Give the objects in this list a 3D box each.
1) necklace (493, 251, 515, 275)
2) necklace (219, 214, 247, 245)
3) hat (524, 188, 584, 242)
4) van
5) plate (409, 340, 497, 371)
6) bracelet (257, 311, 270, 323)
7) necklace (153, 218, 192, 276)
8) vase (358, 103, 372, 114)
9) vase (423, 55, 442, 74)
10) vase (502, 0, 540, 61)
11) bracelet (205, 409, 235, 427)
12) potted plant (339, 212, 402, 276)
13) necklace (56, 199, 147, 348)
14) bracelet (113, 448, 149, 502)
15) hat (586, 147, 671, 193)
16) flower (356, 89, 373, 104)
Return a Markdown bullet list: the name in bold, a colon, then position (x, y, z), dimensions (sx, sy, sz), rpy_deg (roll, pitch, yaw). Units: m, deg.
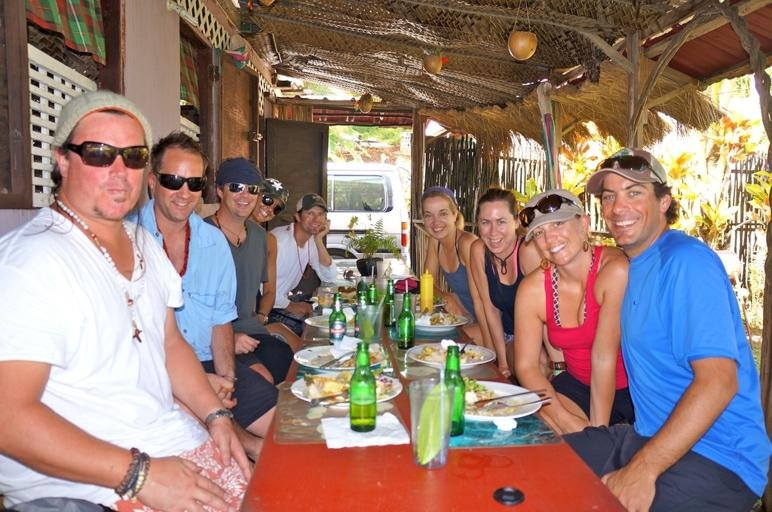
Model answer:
- **necklace**: position (0.877, 0.067, 4.240), dimensions (0.121, 0.183, 0.043), rpy_deg (-4, 2, 33)
- **necklace**: position (-1.173, -0.178, 4.329), dimensions (0.218, 0.059, 0.163), rpy_deg (45, 21, 19)
- **hat**: position (1.035, -0.266, 3.478), dimensions (0.372, 0.126, 0.351), rpy_deg (2, -17, -38)
- **van**: position (-0.375, -0.991, 10.379), dimensions (1.828, 1.703, 1.286), rpy_deg (1, 3, 1)
- **plate**: position (0.354, 0.548, 3.095), dimensions (0.283, 0.042, 0.291), rpy_deg (0, 9, -7)
- **bracelet**: position (-1.079, 0.547, 4.914), dimensions (0.066, 0.094, 0.033), rpy_deg (5, 21, 2)
- **necklace**: position (-1.293, -0.053, 3.494), dimensions (0.159, 0.319, 0.072), rpy_deg (2, -5, -10)
- **vase**: position (-0.369, -2.572, 9.743), dimensions (0.211, 0.187, 0.232), rpy_deg (0, 0, 1)
- **vase**: position (0.531, -2.172, 6.432), dimensions (0.217, 0.215, 0.269), rpy_deg (2, 4, 4)
- **vase**: position (1.325, -2.139, 5.612), dimensions (0.344, 0.871, 0.370), rpy_deg (2, 1, 11)
- **bracelet**: position (-0.829, 0.811, 2.812), dimensions (0.089, 0.096, 0.093), rpy_deg (-31, 23, -29)
- **potted plant**: position (-0.191, -0.121, 6.129), dimensions (0.457, 0.710, 0.646), rpy_deg (-6, -3, 3)
- **necklace**: position (-1.224, 0.081, 2.580), dimensions (0.141, 0.567, 0.537), rpy_deg (-25, -37, 15)
- **bracelet**: position (-1.012, 0.888, 2.326), dimensions (0.076, 0.145, 0.173), rpy_deg (26, 18, -10)
- **hat**: position (1.396, -0.518, 3.190), dimensions (0.462, 0.185, 0.339), rpy_deg (-5, 17, -15)
- **flower**: position (-0.368, -2.726, 9.822), dimensions (0.221, 0.275, 0.461), rpy_deg (1, 4, -7)
